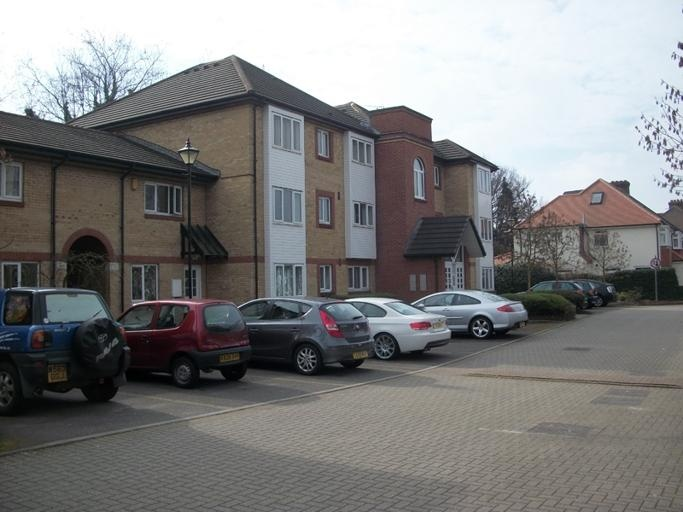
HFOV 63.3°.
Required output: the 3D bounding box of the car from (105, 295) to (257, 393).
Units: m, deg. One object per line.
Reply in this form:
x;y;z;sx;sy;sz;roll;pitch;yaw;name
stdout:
-3.493;1.815;12.331;2.828;1.343;1.653;2;-1;31;car
